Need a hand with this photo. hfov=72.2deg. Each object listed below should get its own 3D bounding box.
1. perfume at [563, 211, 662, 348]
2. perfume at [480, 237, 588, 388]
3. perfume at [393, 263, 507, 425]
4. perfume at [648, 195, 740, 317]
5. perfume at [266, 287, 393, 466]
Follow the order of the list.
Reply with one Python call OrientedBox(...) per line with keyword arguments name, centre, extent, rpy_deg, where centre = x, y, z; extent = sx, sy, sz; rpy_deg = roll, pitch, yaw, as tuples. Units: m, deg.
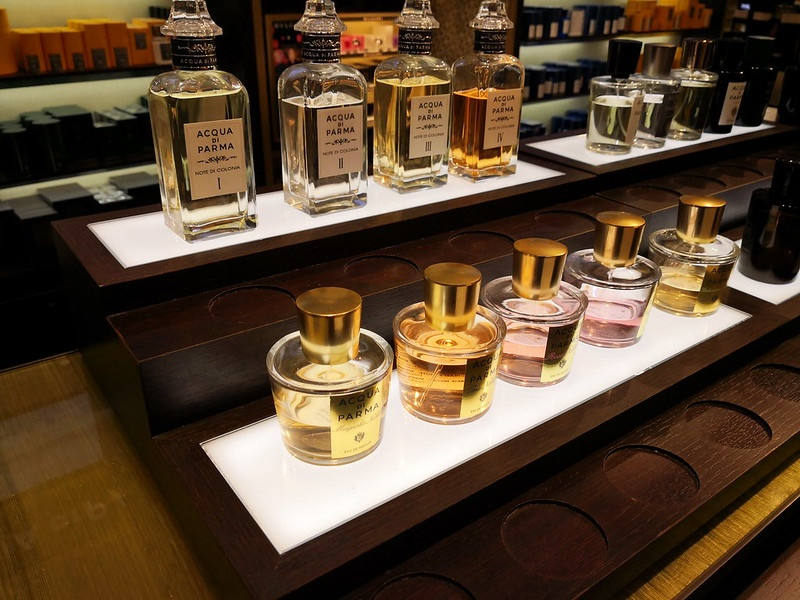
OrientedBox(name="perfume", centre=(0.332, -0.030, 0.881), extent=(0.152, 0.194, 0.142), rpy_deg=(-13, 33, -31))
OrientedBox(name="perfume", centre=(0.185, 0.015, 0.795), extent=(0.155, 0.186, 0.149), rpy_deg=(-20, 36, -37))
OrientedBox(name="perfume", centre=(0.060, 0.053, 0.694), extent=(0.138, 0.203, 0.104), rpy_deg=(6, 35, 9))
OrientedBox(name="perfume", centre=(0.505, -0.078, 0.951), extent=(0.149, 0.186, 0.137), rpy_deg=(-15, 30, -17))
OrientedBox(name="perfume", centre=(-0.082, 0.090, 0.660), extent=(0.157, 0.182, 0.129), rpy_deg=(-7, 28, -17))
